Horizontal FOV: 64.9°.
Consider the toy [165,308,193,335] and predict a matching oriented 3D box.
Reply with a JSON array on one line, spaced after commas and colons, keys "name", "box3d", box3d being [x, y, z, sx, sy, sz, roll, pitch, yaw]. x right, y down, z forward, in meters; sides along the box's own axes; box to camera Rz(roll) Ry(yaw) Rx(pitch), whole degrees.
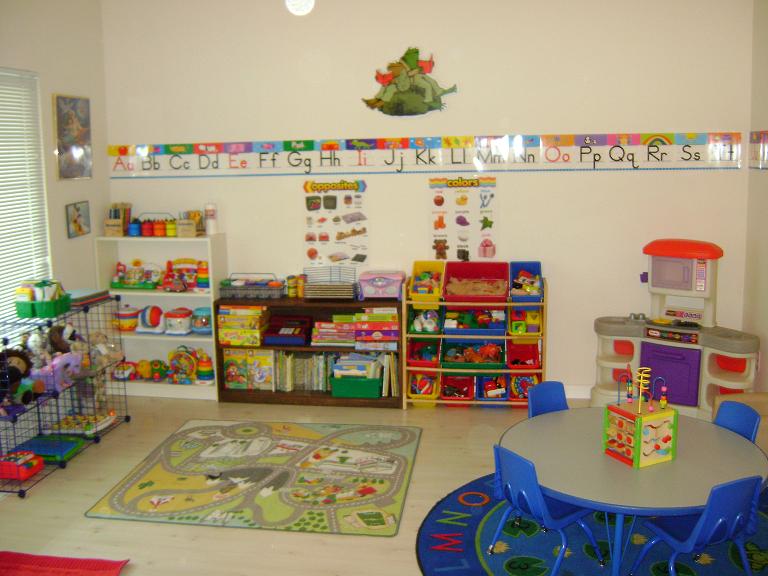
[{"name": "toy", "box3d": [-2.031, 0.356, 6.010, 0.273, 0.188, 0.219, 1, 4, 19]}]

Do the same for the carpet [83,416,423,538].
[{"name": "carpet", "box3d": [-0.843, 1.392, 4.627, 2.156, 0.236, 1.481, -2, 8, 8]}]

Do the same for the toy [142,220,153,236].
[{"name": "toy", "box3d": [-2.318, -0.575, 5.915, 0.135, 0.141, 0.131, 1, 4, 1]}]

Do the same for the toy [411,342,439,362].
[{"name": "toy", "box3d": [0.380, 0.591, 5.686, 0.196, 0.057, 0.191, -3, 35, 11]}]

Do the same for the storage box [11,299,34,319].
[{"name": "storage box", "box3d": [-2.817, 0.173, 4.722, 0.166, 0.128, 0.134, 0, 1, -3]}]

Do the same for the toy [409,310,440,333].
[{"name": "toy", "box3d": [0.370, 0.325, 5.557, 0.223, 0.231, 0.080, -1, -24, 12]}]

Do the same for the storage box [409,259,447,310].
[{"name": "storage box", "box3d": [0.404, -0.057, 5.644, 0.317, 0.197, 0.458, 0, 44, 13]}]

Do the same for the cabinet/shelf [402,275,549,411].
[{"name": "cabinet/shelf", "box3d": [0.837, 0.517, 5.484, 1.273, 1.153, 0.481, 0, 3, 6]}]

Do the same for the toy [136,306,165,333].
[{"name": "toy", "box3d": [-2.314, 0.324, 5.976, 0.286, 0.216, 0.215, 2, 1, 40]}]

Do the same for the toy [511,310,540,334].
[{"name": "toy", "box3d": [1.283, 0.307, 5.457, 0.294, 0.220, 0.088, -3, 9, 4]}]

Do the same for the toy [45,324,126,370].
[{"name": "toy", "box3d": [-2.512, 0.515, 5.062, 0.445, 0.339, 0.624, 8, -4, -36]}]

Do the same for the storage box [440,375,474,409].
[{"name": "storage box", "box3d": [0.690, 0.955, 5.634, 0.332, 0.137, 0.247, -1, 37, 6]}]

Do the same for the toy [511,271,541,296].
[{"name": "toy", "box3d": [1.289, -0.027, 5.484, 0.235, 0.084, 0.227, 5, 55, 21]}]

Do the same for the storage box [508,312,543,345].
[{"name": "storage box", "box3d": [1.271, 0.367, 5.338, 0.227, 0.112, 0.317, 0, 8, 5]}]

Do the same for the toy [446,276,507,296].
[{"name": "toy", "box3d": [0.861, 0.012, 5.550, 0.388, 0.067, 0.229, 1, 16, 5]}]

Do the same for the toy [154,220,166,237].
[{"name": "toy", "box3d": [-2.194, -0.569, 5.891, 0.148, 0.149, 0.144, 0, 1, -9]}]

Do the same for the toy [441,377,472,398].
[{"name": "toy", "box3d": [0.685, 0.939, 5.635, 0.258, 0.182, 0.082, 1, -24, 5]}]

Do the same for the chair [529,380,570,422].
[{"name": "chair", "box3d": [1.074, 0.738, 3.981, 0.224, 0.357, 0.252, -2, 1, -12]}]

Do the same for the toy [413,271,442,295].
[{"name": "toy", "box3d": [0.396, -0.041, 5.546, 0.217, 0.064, 0.212, 2, 38, 3]}]

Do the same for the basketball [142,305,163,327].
[{"name": "basketball", "box3d": [-2.299, 0.296, 5.964, 0.160, 0.158, 0.210, 11, -1, -23]}]

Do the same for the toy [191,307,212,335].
[{"name": "toy", "box3d": [-1.796, 0.343, 5.946, 0.244, 0.220, 0.240, 1, 1, 9]}]

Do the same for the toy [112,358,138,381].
[{"name": "toy", "box3d": [-2.605, 0.816, 6.056, 0.255, 0.107, 0.337, 2, 12, -17]}]

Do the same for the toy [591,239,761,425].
[{"name": "toy", "box3d": [2.489, 0.365, 5.033, 1.499, 1.580, 0.791, 3, 6, 32]}]

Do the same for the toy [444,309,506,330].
[{"name": "toy", "box3d": [0.828, 0.299, 5.557, 0.395, 0.091, 0.245, 0, 7, 7]}]

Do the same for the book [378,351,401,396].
[{"name": "book", "box3d": [0.049, 0.827, 5.674, 0.183, 0.307, 0.322, 0, 53, 7]}]

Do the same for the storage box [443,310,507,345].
[{"name": "storage box", "box3d": [0.845, 0.369, 5.539, 0.456, 0.148, 0.308, 0, 13, 5]}]

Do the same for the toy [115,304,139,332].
[{"name": "toy", "box3d": [-2.557, 0.334, 6.019, 0.255, 0.234, 0.179, -1, 1, 5]}]

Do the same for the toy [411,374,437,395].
[{"name": "toy", "box3d": [0.360, 0.912, 5.638, 0.209, 0.193, 0.061, 2, -8, 18]}]

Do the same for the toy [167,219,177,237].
[{"name": "toy", "box3d": [-2.070, -0.565, 5.867, 0.144, 0.143, 0.141, 1, -1, -8]}]

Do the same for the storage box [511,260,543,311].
[{"name": "storage box", "box3d": [1.295, -0.036, 5.528, 0.305, 0.417, 0.407, 0, 2, 7]}]

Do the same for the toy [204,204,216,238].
[{"name": "toy", "box3d": [-1.699, -0.654, 5.900, 0.118, 0.289, 0.136, -7, 9, -18]}]

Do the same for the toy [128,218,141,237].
[{"name": "toy", "box3d": [-2.460, -0.579, 5.923, 0.145, 0.163, 0.076, -4, 9, -5]}]
